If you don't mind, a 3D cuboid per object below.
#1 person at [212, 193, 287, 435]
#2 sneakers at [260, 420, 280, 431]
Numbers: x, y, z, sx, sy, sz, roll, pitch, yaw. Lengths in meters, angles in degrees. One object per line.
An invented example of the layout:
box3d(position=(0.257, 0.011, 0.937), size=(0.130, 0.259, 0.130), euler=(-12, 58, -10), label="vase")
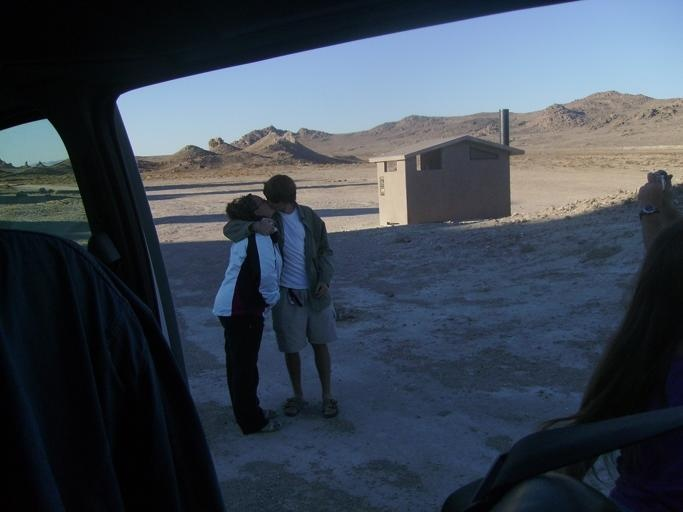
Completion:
box3d(position=(-0.678, 0.474, 3.865), size=(0.531, 1.815, 0.554), euler=(-5, 14, 4), label="person")
box3d(position=(-0.525, 1.302, 3.924), size=(0.067, 0.051, 0.120), euler=(11, 17, 26), label="sneakers")
